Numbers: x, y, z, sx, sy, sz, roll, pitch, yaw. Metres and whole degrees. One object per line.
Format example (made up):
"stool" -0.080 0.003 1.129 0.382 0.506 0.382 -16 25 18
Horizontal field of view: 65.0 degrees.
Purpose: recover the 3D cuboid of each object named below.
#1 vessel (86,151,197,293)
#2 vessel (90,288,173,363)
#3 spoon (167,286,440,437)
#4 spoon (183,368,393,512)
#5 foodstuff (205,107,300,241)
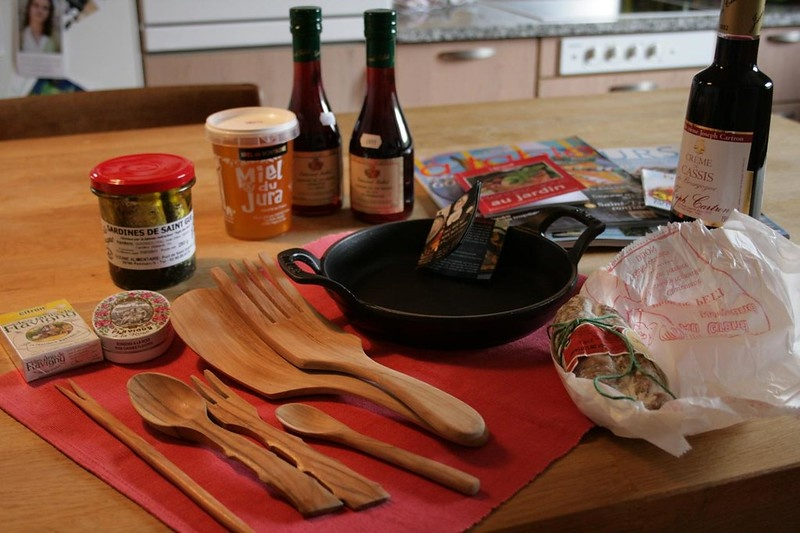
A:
"vessel" -0.326 -0.068 0.917 0.198 0.183 0.179 -7 29 -18
"vessel" -0.331 0.069 0.769 0.096 0.033 0.085 1 34 -1
"spoon" -0.168 0.099 0.759 0.447 0.054 0.120 22 32 28
"spoon" -0.115 0.187 0.657 0.215 0.031 0.035 28 41 26
"foodstuff" -0.230 -0.149 1.010 0.127 0.193 0.114 -22 37 -35
